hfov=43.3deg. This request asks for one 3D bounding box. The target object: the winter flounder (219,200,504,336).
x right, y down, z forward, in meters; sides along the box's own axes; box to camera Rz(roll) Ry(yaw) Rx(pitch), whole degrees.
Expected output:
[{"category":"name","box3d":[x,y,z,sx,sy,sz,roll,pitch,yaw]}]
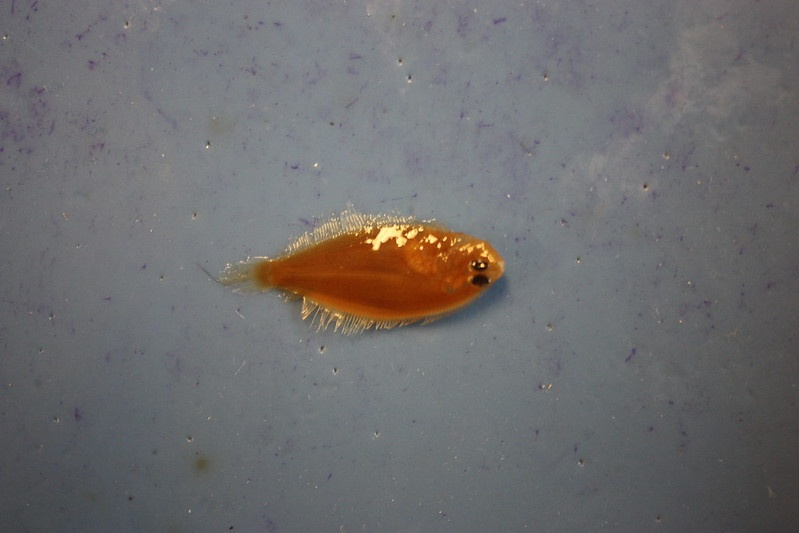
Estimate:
[{"category":"winter flounder","box3d":[-0.106,0.022,4.357,0.967,0.174,0.570,-5,84,3]}]
